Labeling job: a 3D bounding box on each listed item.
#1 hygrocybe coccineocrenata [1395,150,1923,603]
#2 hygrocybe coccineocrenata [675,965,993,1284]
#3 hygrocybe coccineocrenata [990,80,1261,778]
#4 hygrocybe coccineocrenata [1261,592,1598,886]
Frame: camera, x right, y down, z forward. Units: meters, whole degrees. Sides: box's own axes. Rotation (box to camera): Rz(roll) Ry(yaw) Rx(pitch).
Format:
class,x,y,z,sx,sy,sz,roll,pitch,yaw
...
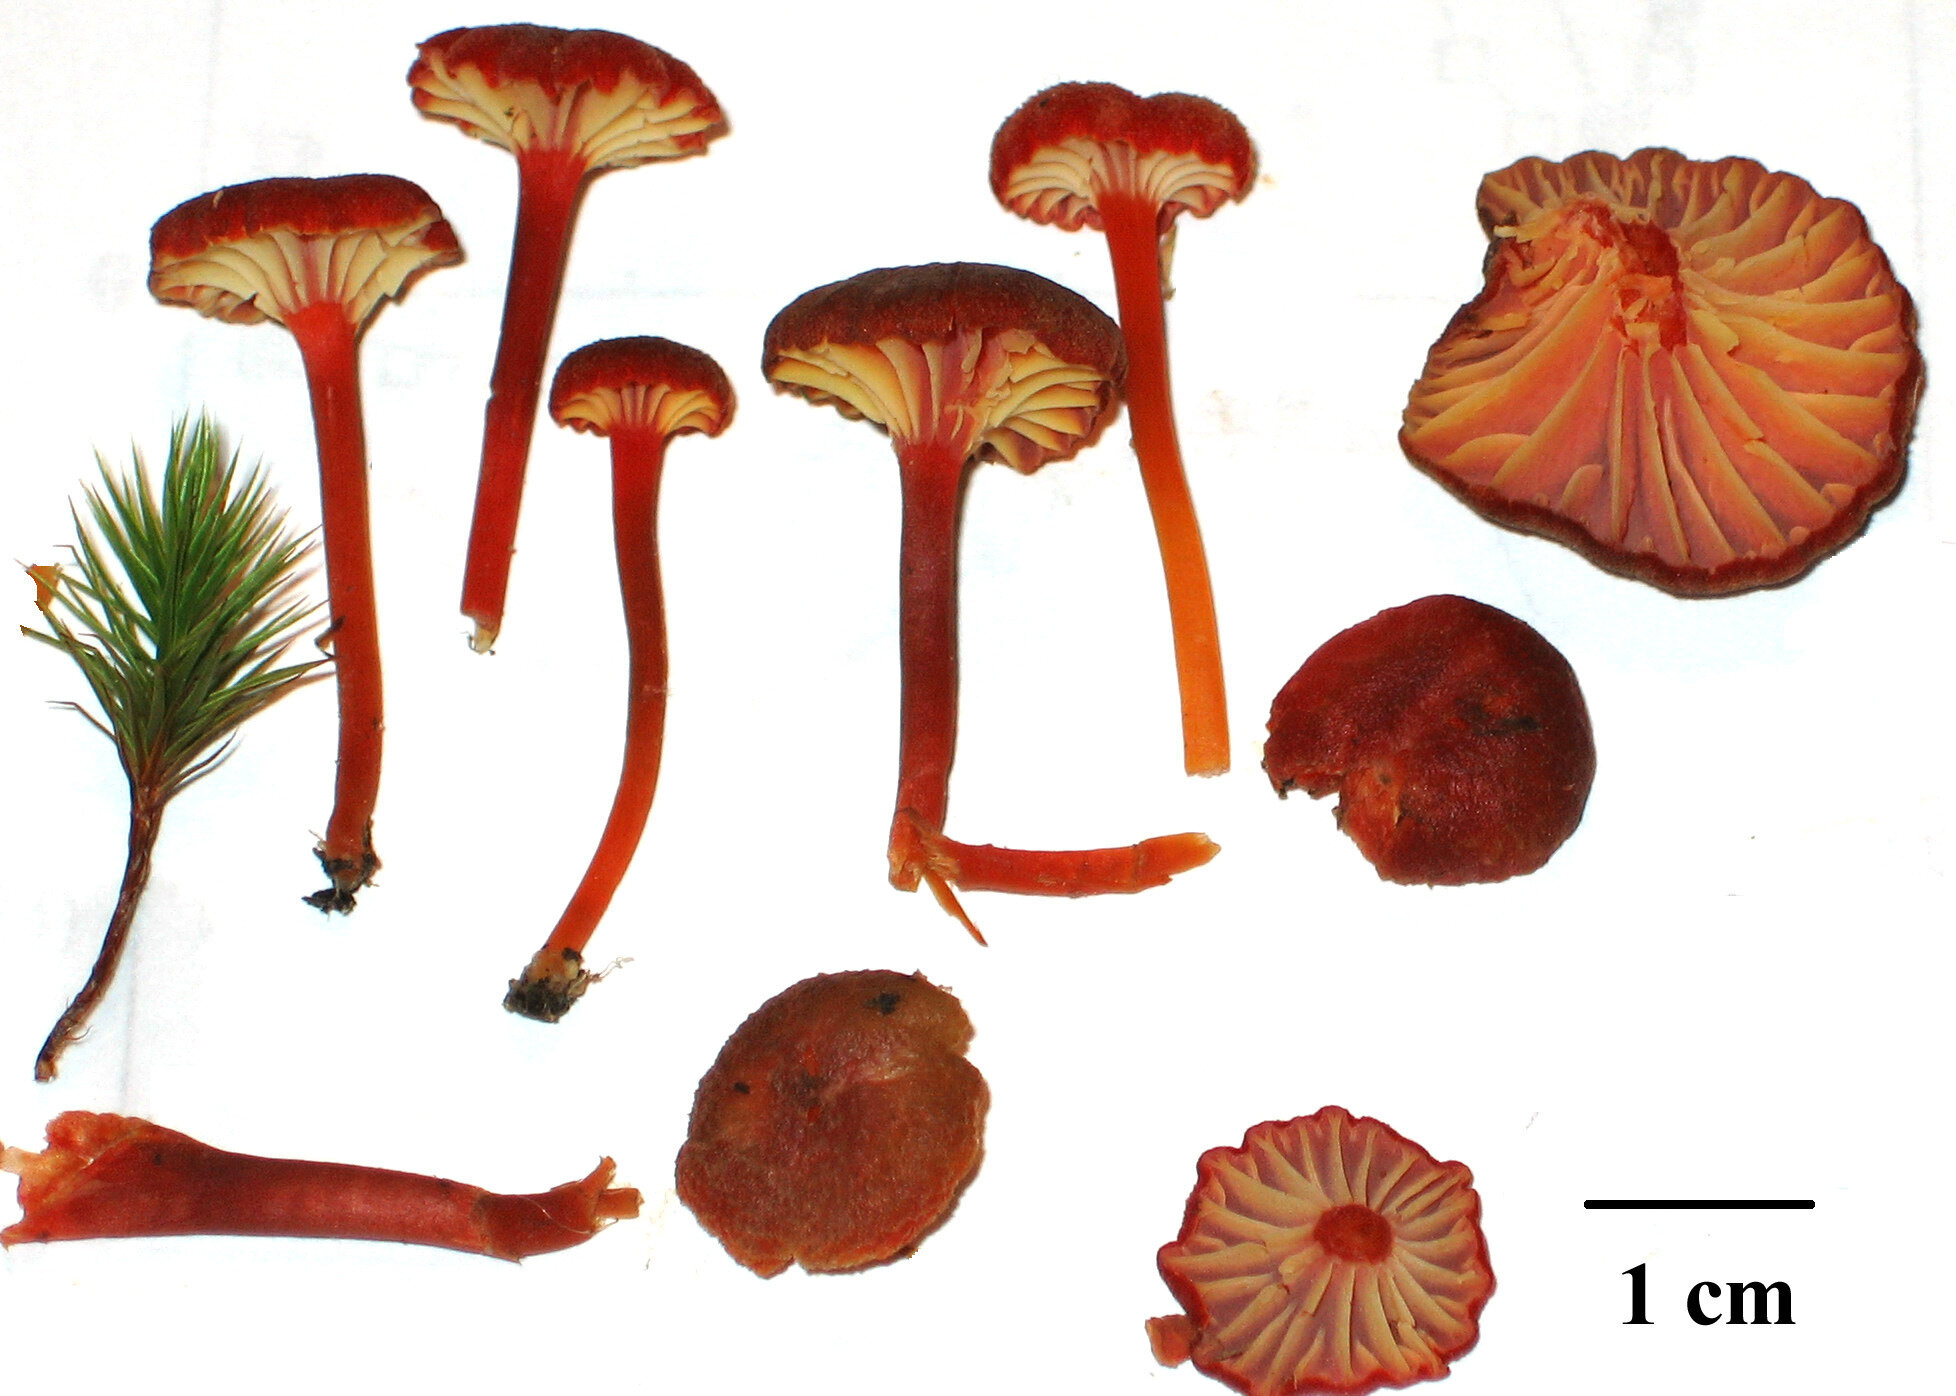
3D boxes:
class,x,y,z,sx,sy,sz,roll,pitch,yaw
hygrocybe coccineocrenata,0.891,-0.428,3.107,0.648,0.581,0.158,4,-3,2
hygrocybe coccineocrenata,-0.183,0.539,3.022,0.384,0.380,0.109,3,-3,13
hygrocybe coccineocrenata,0.224,-0.443,3.149,0.302,0.989,0.615,-4,17,2
hygrocybe coccineocrenata,0.589,0.055,3.098,0.420,0.372,0.130,4,-3,9
